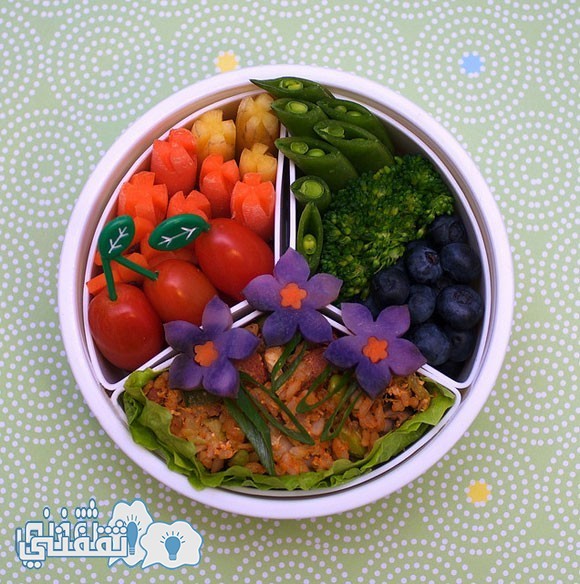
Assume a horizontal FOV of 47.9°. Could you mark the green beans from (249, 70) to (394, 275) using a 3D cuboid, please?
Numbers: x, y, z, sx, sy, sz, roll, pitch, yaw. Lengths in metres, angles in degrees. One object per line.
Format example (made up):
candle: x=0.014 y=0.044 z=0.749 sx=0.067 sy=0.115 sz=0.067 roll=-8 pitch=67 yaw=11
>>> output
green beans: x=0.112 y=-0.296 z=1.512 sx=0.293 sy=0.136 sz=0.461 roll=-15 pitch=83 yaw=-1

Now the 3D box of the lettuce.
lettuce: x=-0.009 y=0.309 z=1.424 sx=0.736 sy=0.108 sz=0.257 roll=2 pitch=83 yaw=1

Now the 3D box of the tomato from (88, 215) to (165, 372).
tomato: x=-0.371 y=0.011 z=1.407 sx=0.163 sy=0.210 sz=0.309 roll=-1 pitch=83 yaw=1

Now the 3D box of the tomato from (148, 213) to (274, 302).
tomato: x=-0.162 y=-0.080 z=1.471 sx=0.267 sy=0.129 sz=0.138 roll=34 pitch=72 yaw=-15
